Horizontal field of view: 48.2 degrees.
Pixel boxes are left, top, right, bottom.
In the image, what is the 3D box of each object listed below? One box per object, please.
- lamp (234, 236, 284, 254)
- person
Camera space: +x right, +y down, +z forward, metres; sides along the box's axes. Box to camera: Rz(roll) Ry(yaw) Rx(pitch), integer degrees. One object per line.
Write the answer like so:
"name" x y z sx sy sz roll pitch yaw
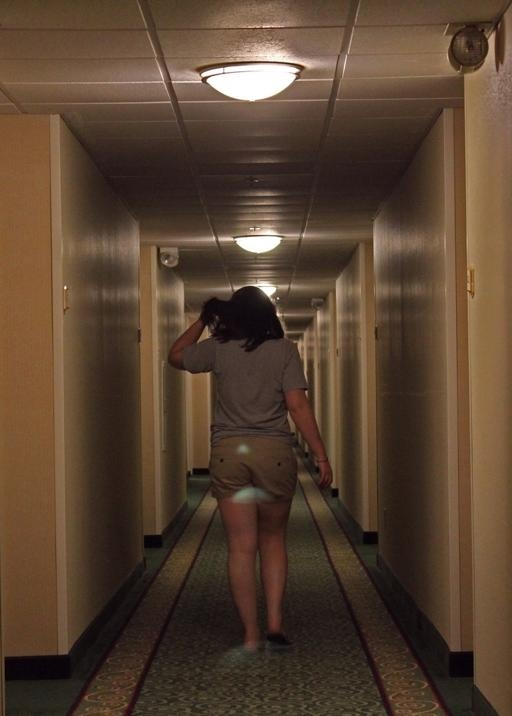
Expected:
"lamp" 0.016 -1.198 5.887 0.501 0.138 0.304 -2 -8 3
"person" -0.020 0.516 2.704 0.737 1.741 0.312 -2 -8 6
